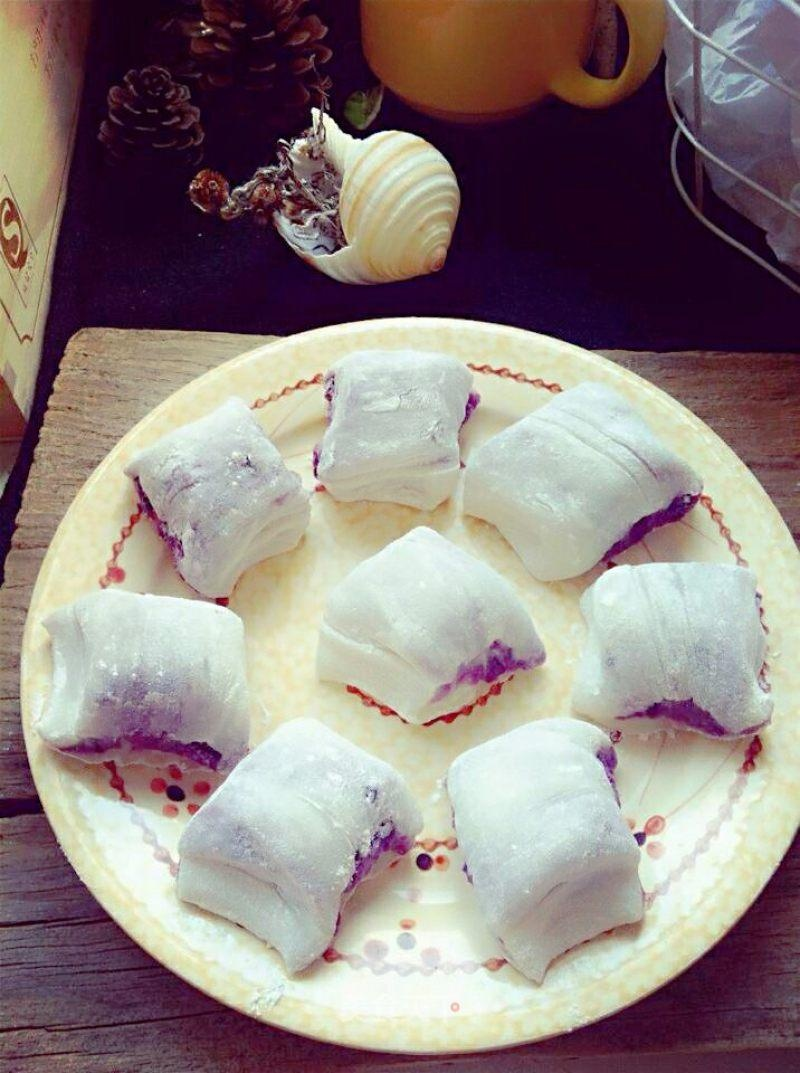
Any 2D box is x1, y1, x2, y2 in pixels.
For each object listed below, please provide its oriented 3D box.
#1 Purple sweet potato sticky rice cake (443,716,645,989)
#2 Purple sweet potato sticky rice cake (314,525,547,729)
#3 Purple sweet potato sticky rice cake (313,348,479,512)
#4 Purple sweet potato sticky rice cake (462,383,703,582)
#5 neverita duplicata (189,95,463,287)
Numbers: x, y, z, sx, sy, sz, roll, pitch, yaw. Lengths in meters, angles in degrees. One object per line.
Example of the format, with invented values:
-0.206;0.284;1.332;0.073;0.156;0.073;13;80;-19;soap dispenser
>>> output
0.105;0.227;0.777;0.141;0.055;0.176;-21;61;1;Purple sweet potato sticky rice cake
0.019;0.069;0.967;0.210;0.097;0.208;0;33;4;Purple sweet potato sticky rice cake
-0.007;-0.104;0.988;0.154;0.072;0.137;5;63;3;Purple sweet potato sticky rice cake
0.158;-0.055;0.971;0.188;0.070;0.183;-34;63;-15;Purple sweet potato sticky rice cake
-0.032;-0.381;1.242;0.258;0.192;0.274;8;44;25;neverita duplicata
